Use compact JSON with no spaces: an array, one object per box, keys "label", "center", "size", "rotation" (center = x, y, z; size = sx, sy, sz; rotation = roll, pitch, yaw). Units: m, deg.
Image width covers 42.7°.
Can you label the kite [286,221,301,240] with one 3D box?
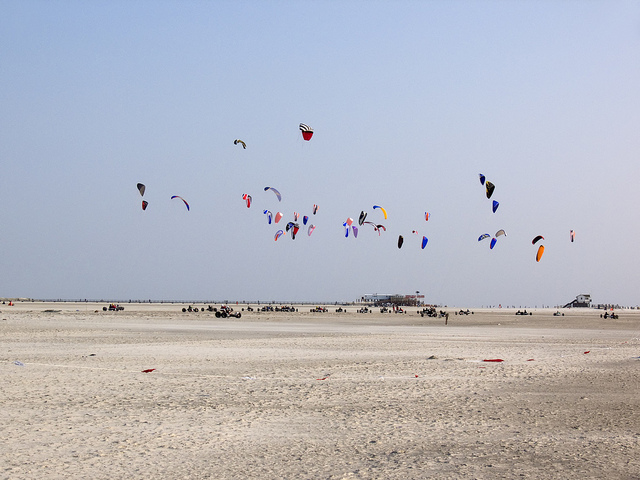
[{"label":"kite","center":[-1.071,-0.494,32.945],"size":[0.740,0.777,0.613],"rotation":[-3,8,15]}]
